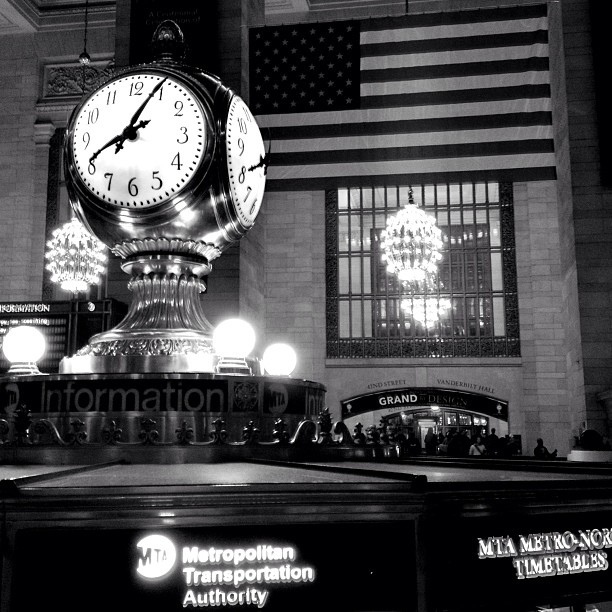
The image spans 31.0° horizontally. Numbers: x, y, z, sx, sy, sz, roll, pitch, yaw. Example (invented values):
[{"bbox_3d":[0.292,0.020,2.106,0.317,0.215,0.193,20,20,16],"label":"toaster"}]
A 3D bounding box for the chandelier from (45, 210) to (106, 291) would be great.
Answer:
[{"bbox_3d":[-3.682,-0.761,17.842,0.891,1.147,0.845,3,6,-11],"label":"chandelier"}]

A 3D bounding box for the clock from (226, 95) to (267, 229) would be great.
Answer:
[{"bbox_3d":[-0.272,-0.641,5.047,0.058,0.675,0.643,-2,6,13],"label":"clock"}]

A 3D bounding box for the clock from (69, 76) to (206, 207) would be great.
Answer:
[{"bbox_3d":[-0.723,-0.701,4.743,0.605,0.560,0.191,7,7,23],"label":"clock"}]
